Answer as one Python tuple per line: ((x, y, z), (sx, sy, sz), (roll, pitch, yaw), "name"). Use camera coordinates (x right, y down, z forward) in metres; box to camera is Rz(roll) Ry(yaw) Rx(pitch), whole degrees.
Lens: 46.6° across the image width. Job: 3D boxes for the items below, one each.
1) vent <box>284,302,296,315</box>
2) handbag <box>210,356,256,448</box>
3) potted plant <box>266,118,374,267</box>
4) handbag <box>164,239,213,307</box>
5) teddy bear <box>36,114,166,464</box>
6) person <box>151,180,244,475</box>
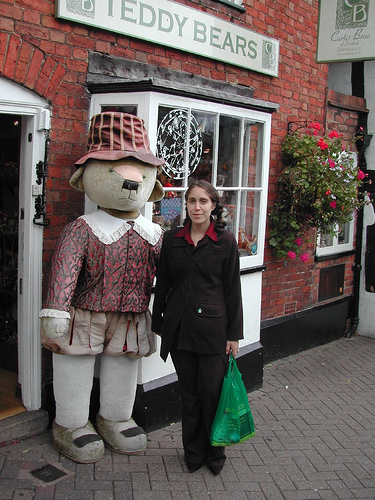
((1.244, 0.707, 5.290), (0.149, 0.133, 0.034), (-1, 14, -43), "vent")
((0.273, 0.872, 2.443), (0.232, 0.484, 0.168), (7, 2, 10), "handbag")
((1.623, -0.715, 5.175), (0.810, 1.694, 1.655), (7, 2, 30), "potted plant")
((0.017, 0.053, 2.476), (0.073, 0.044, 0.880), (36, 35, 3), "handbag")
((-0.472, 0.207, 2.583), (0.627, 1.756, 0.908), (7, 2, 1), "teddy bear")
((0.053, 0.468, 2.536), (0.539, 1.567, 0.252), (6, 2, -4), "person")
